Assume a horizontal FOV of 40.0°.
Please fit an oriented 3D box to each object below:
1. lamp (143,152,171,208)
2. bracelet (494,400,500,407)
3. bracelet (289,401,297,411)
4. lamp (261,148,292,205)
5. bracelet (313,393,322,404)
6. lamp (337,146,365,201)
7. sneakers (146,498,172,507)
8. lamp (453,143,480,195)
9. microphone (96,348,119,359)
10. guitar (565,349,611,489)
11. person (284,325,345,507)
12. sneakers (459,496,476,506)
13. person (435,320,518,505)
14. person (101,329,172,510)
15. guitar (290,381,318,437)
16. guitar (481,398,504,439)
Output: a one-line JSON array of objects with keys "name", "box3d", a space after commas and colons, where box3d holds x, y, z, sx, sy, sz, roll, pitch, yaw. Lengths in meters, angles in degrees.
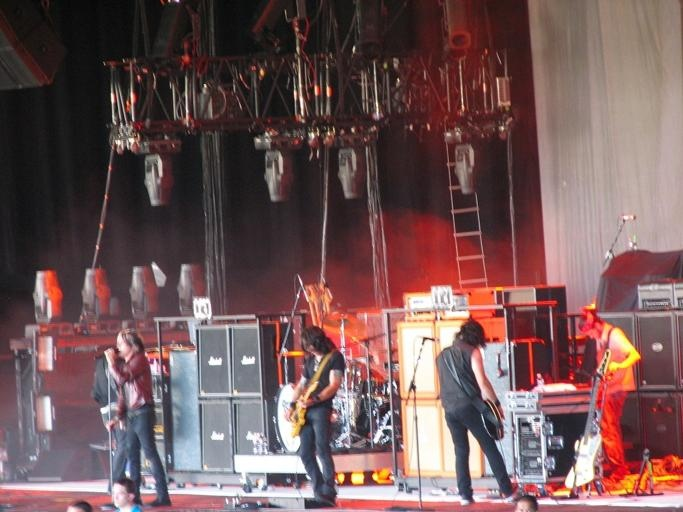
[{"name": "lamp", "box3d": [-2.269, -0.968, 11.837, 0.334, 0.614, 0.381, -2, -2, -11]}, {"name": "bracelet", "box3d": [1.607, 1.527, 9.682, 0.057, 0.077, 0.070, 0, 1, -9]}, {"name": "bracelet", "box3d": [-0.519, 1.657, 10.369, 0.056, 0.089, 0.083, 18, -2, 1]}, {"name": "lamp", "box3d": [-0.782, -1.038, 11.980, 0.329, 0.625, 0.374, -2, -2, -2]}, {"name": "bracelet", "box3d": [-0.250, 1.561, 10.198, 0.070, 0.120, 0.027, -1, -1, 17]}, {"name": "lamp", "box3d": [0.144, -1.169, 12.185, 0.403, 0.761, 0.430, -9, 10, -31]}, {"name": "sneakers", "box3d": [-2.060, 2.820, 10.725, 0.267, 0.138, 0.100, 4, -7, 2]}, {"name": "lamp", "box3d": [1.612, -1.141, 12.193, 0.253, 0.610, 0.448, -3, -2, 9]}, {"name": "microphone", "box3d": [-2.807, 1.195, 11.421, 0.185, 0.108, 0.281, 4, -20, -2]}, {"name": "guitar", "box3d": [2.706, 1.833, 10.362, 0.458, 1.006, 0.564, -4, -3, 32]}, {"name": "person", "box3d": [-0.261, 1.760, 10.346, 0.630, 1.966, 0.351, -2, -2, 4]}, {"name": "sneakers", "box3d": [1.324, 2.621, 9.984, 0.060, 0.084, 0.175, 1, -2, 30]}, {"name": "person", "box3d": [1.374, 1.664, 9.878, 0.414, 1.961, 0.710, 0, -3, -43]}, {"name": "person", "box3d": [-2.318, 1.864, 10.820, 0.664, 2.021, 0.484, -2, -2, -16]}, {"name": "guitar", "box3d": [-0.468, 1.713, 10.396, 0.238, 0.700, 0.073, -8, -34, 6]}, {"name": "guitar", "box3d": [1.551, 1.696, 9.691, 0.084, 0.236, 0.398, -15, -39, 6]}]
